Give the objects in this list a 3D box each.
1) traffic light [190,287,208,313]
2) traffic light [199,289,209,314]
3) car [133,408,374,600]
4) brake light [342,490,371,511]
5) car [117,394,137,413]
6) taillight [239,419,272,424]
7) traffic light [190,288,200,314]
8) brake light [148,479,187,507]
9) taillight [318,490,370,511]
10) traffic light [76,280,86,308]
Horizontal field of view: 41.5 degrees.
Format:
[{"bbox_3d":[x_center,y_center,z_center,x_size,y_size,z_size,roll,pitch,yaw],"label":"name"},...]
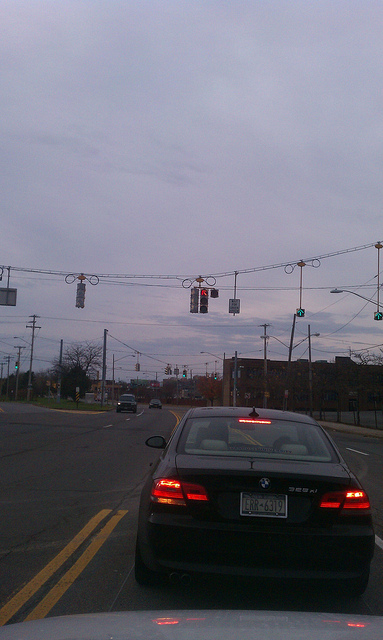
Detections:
[{"bbox_3d":[0.272,-0.806,19.292,0.609,1.004,0.455,2,-5,3],"label":"traffic light"},{"bbox_3d":[0.447,-0.752,19.352,0.308,0.911,0.217,1,-6,16],"label":"traffic light"},{"bbox_3d":[0.427,1.223,3.951,0.909,0.747,2.069,2,-8,0],"label":"car"},{"bbox_3d":[1.065,1.174,3.284,0.147,0.112,0.157,1,-5,7],"label":"brake light"},{"bbox_3d":[-5.793,7.493,45.600,1.017,1.019,1.931,-1,-14,-1],"label":"car"},{"bbox_3d":[0.564,0.884,4.419,0.180,0.028,0.019,1,-38,-2],"label":"taillight"},{"bbox_3d":[0.125,-0.802,19.336,0.288,0.926,0.175,3,-5,-8],"label":"traffic light"},{"bbox_3d":[-0.149,1.136,3.314,0.210,0.168,0.364,2,0,-5],"label":"brake light"},{"bbox_3d":[0.980,1.156,3.246,0.192,0.084,0.205,0,-12,8],"label":"taillight"},{"bbox_3d":[-3.961,-0.930,18.117,0.238,0.876,0.429,4,-6,-20],"label":"traffic light"}]
